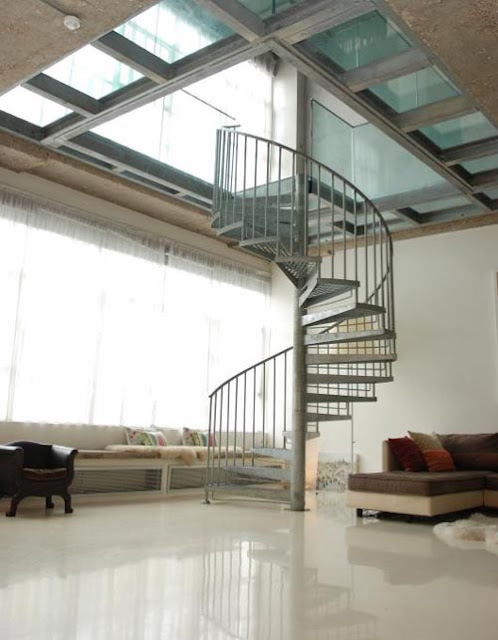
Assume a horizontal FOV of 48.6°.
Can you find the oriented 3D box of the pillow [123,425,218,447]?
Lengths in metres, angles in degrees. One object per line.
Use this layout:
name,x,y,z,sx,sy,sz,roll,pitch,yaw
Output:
pillow,-0.948,1.394,6.567,0.504,0.237,1.136,-4,-10,35
